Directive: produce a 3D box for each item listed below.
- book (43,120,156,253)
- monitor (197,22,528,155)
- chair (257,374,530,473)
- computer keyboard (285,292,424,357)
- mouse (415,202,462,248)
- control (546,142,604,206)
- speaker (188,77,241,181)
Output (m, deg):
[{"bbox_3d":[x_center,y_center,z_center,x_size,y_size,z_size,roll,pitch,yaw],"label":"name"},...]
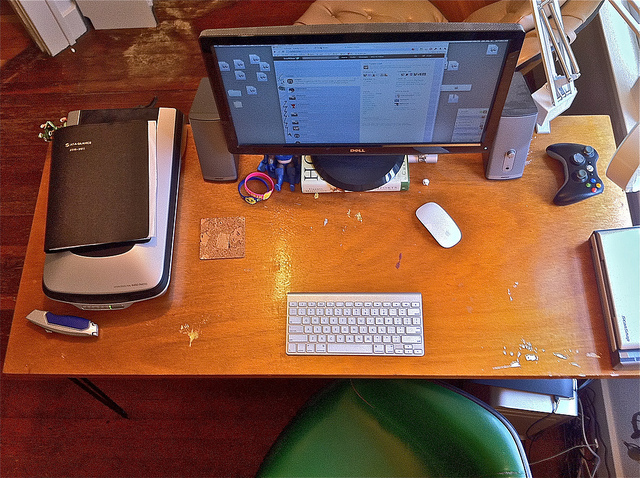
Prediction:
[{"bbox_3d":[-0.689,-0.154,1.572,0.408,0.157,0.573,-2,71,0],"label":"book"},{"bbox_3d":[0.114,-0.458,1.510,0.858,0.449,0.182,0,54,3],"label":"monitor"},{"bbox_3d":[0.261,0.594,1.586,0.456,0.321,0.357,9,37,7],"label":"chair"},{"bbox_3d":[0.115,0.261,1.545,0.406,0.046,0.191,-2,78,2],"label":"computer keyboard"},{"bbox_3d":[0.393,-0.040,1.679,0.095,0.035,0.172,-37,82,-4],"label":"mouse"},{"bbox_3d":[0.849,-0.228,1.682,0.168,0.076,0.207,-1,93,-5],"label":"control"},{"bbox_3d":[-0.368,-0.358,1.690,0.191,0.320,0.196,-8,51,-19],"label":"speaker"}]
